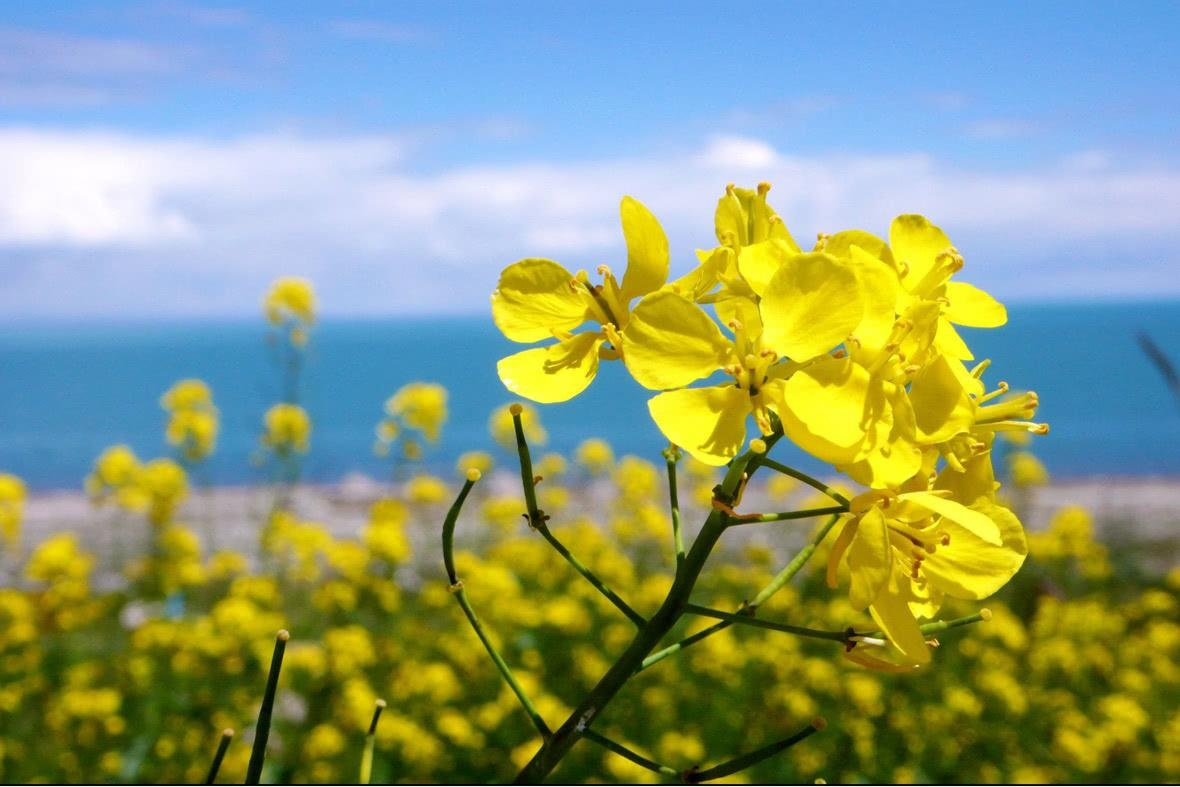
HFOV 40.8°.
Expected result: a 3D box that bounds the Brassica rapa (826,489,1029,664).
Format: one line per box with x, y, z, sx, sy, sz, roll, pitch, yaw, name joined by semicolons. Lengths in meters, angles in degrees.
1.194;0.603;5.894;0.735;0.402;0.910;-5;12;3;Brassica rapa
